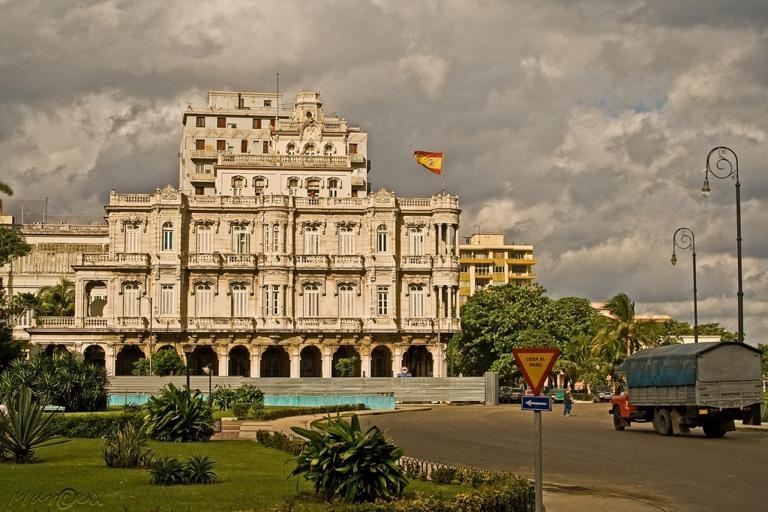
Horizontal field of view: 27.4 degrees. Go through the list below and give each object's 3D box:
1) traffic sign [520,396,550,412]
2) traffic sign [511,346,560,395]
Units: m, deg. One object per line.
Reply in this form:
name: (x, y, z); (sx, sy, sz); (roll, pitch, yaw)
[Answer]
traffic sign: (8.210, 7.882, 84.640); (1.464, 0.870, 1.821); (-1, -9, 3)
traffic sign: (8.241, 6.211, 84.652); (2.268, 2.537, 1.165); (-3, -9, 11)
